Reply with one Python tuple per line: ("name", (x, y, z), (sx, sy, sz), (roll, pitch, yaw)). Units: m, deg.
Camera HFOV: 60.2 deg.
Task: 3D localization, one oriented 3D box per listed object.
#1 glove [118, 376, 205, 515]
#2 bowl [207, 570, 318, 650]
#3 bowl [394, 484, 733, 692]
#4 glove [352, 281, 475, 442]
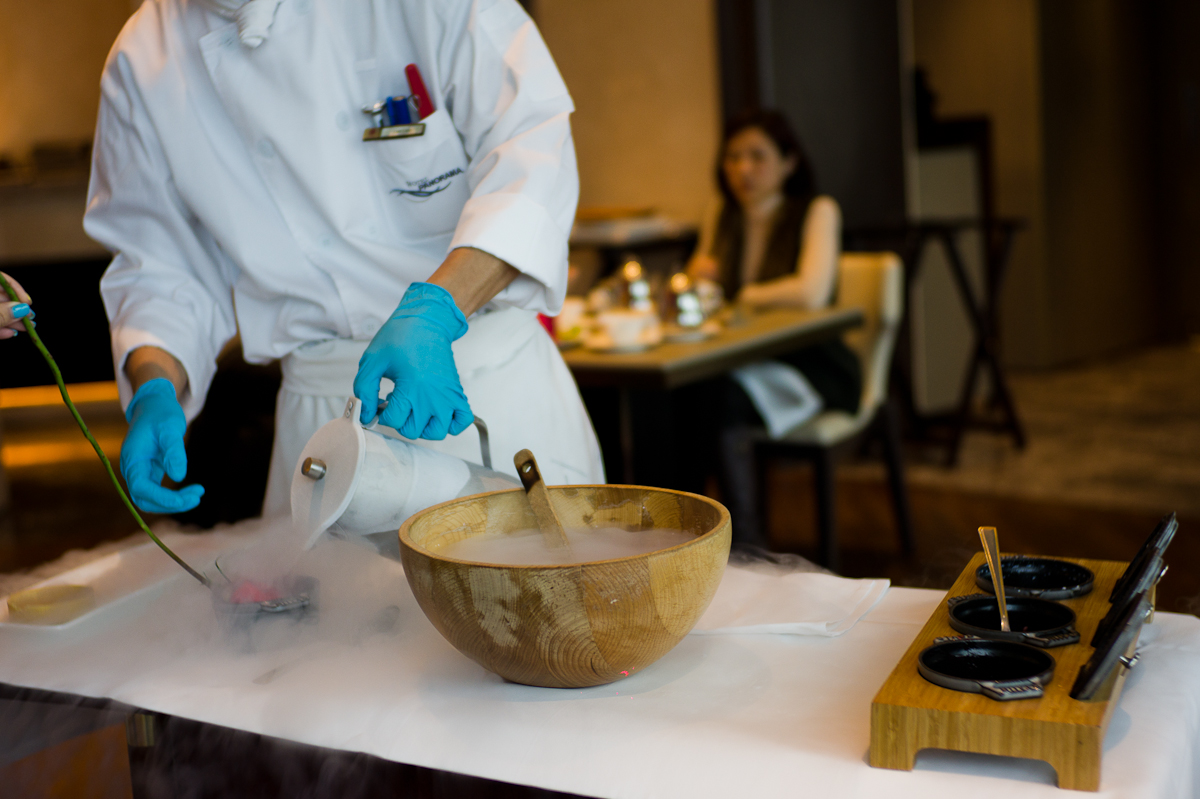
("glove", (-0.617, 0.069, 1.409), (0.080, 0.146, 0.185), (6, -14, 3))
("bowl", (-0.406, 0.244, 1.252), (0.120, 0.053, 0.117), (-4, 21, 1))
("bowl", (-0.036, 0.207, 1.167), (0.358, 0.171, 0.225), (-2, 21, 7))
("glove", (-0.238, -0.031, 1.309), (0.057, 0.200, 0.159), (-10, -19, 41))
